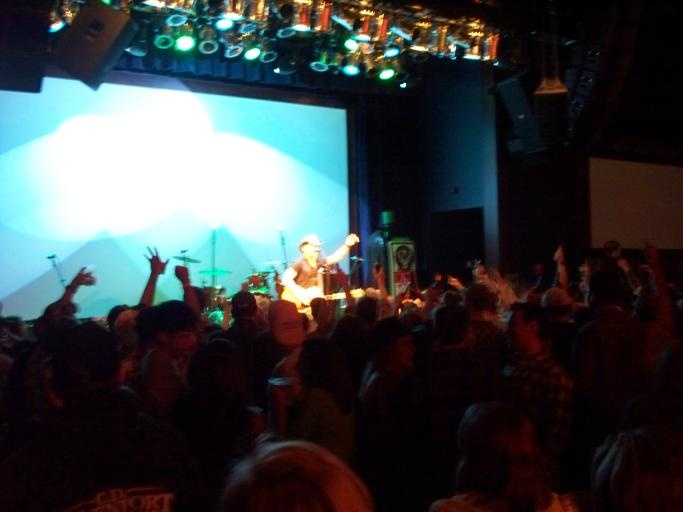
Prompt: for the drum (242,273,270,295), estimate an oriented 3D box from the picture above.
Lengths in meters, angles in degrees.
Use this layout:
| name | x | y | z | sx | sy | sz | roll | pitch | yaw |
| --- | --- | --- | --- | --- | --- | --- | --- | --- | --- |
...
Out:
| name | x | y | z | sx | sy | sz | roll | pitch | yaw |
| --- | --- | --- | --- | --- | --- | --- | --- | --- | --- |
| drum | -1.027 | 0.338 | 6.382 | 0.245 | 0.231 | 0.235 | 4 | -10 | -40 |
